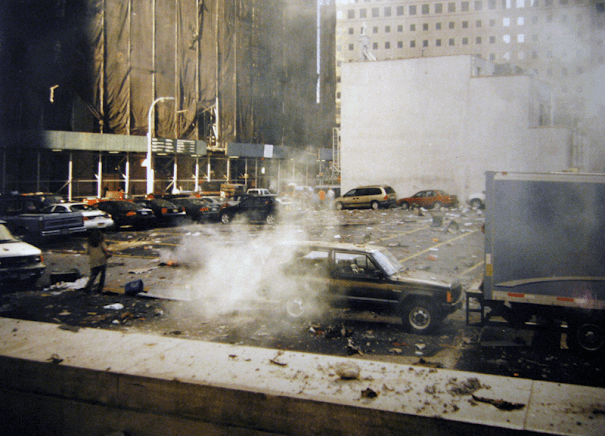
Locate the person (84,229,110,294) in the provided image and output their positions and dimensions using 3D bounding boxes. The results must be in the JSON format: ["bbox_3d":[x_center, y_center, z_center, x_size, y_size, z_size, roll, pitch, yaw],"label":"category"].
[{"bbox_3d":[-5.281,1.053,14.545,0.613,1.543,1.481,-2,5,-20],"label":"person"}]

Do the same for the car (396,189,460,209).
[{"bbox_3d":[7.969,-1.094,35.060,2.662,0.968,1.522,4,5,27],"label":"car"}]

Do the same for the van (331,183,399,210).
[{"bbox_3d":[4.118,-1.297,34.926,2.914,1.391,1.652,4,6,23],"label":"van"}]

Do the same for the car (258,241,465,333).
[{"bbox_3d":[1.623,1.303,12.453,3.430,1.631,1.763,2,4,22],"label":"car"}]
